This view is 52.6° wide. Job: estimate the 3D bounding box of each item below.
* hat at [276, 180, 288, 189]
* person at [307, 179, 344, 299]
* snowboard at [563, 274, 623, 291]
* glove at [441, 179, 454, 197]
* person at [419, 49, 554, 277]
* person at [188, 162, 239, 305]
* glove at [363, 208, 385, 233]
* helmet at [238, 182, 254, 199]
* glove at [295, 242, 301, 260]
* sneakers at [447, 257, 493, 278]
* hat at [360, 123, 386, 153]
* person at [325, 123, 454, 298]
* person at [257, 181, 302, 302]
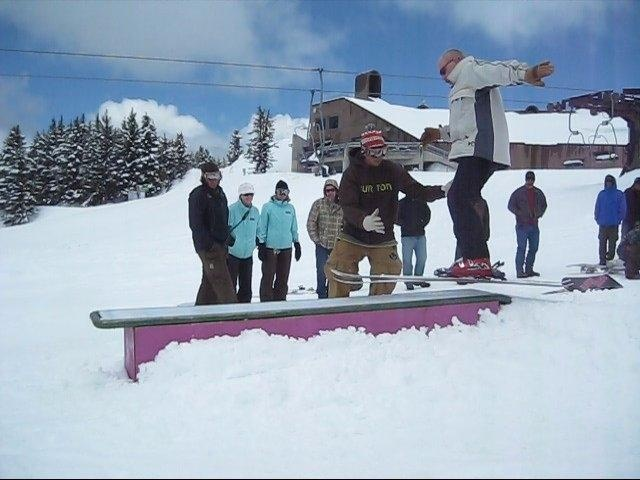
[{"bbox_3d":[-0.543,-0.807,9.460,0.111,0.143,0.138,0,-3,-12],"label":"hat"},{"bbox_3d":[0.135,0.053,9.655,0.593,1.979,0.485,-4,23,-8],"label":"person"},{"bbox_3d":[3.186,0.501,7.606,0.642,0.152,0.509,-2,5,18],"label":"snowboard"},{"bbox_3d":[1.384,-0.557,6.880,0.108,0.161,0.130,-23,11,-24],"label":"glove"},{"bbox_3d":[1.644,-0.819,6.689,1.009,2.393,1.144,-2,4,7],"label":"person"},{"bbox_3d":[-1.254,-0.047,7.593,0.504,1.727,0.800,-3,4,-11],"label":"person"},{"bbox_3d":[0.551,-0.157,6.526,0.236,0.184,0.258,10,-5,-20],"label":"glove"},{"bbox_3d":[-0.996,-0.668,8.815,0.150,0.240,0.213,-3,13,-28],"label":"helmet"},{"bbox_3d":[-0.339,0.169,9.759,0.150,0.236,0.064,12,-8,-40],"label":"glove"},{"bbox_3d":[1.576,0.276,6.755,0.330,0.188,0.206,1,-1,6],"label":"sneakers"},{"bbox_3d":[0.555,-1.063,6.978,0.295,0.207,0.540,-3,38,-1],"label":"hat"},{"bbox_3d":[0.701,-0.032,6.947,1.086,2.291,0.873,4,16,3],"label":"person"},{"bbox_3d":[-0.626,-0.010,9.316,0.459,1.670,0.865,-1,4,17],"label":"person"}]
